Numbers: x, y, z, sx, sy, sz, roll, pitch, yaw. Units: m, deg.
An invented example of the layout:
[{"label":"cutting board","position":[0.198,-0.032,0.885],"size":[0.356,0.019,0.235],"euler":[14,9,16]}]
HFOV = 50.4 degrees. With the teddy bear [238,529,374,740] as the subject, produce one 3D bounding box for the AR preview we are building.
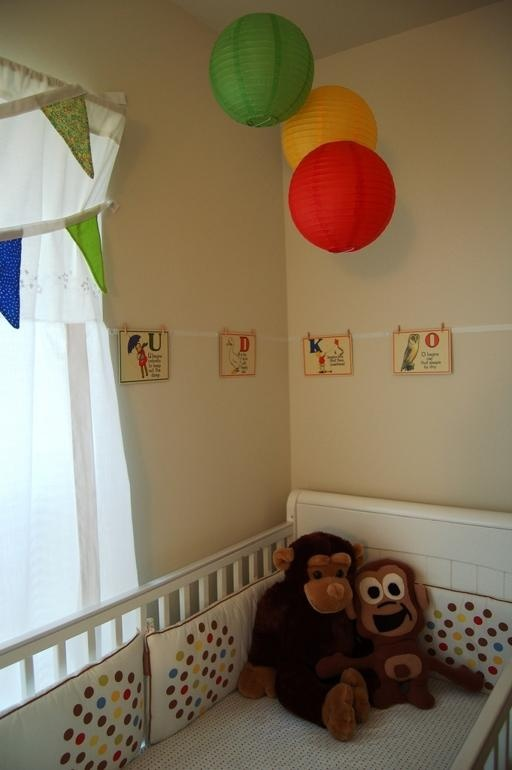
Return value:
[{"label":"teddy bear","position":[0.247,0.743,1.682],"size":[0.368,0.571,0.426],"euler":[11,-8,-24]}]
